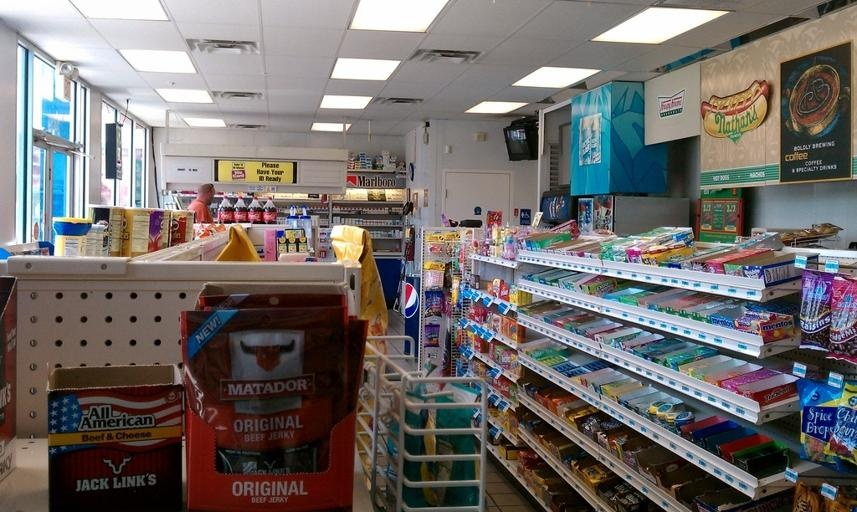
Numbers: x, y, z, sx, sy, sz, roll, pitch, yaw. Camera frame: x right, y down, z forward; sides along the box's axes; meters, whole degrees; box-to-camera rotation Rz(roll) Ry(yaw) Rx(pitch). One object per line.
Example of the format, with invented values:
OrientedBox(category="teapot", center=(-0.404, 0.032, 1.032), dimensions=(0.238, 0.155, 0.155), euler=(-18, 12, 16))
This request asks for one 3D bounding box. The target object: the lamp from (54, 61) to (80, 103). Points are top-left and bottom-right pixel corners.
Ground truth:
OrientedBox(category="lamp", center=(-4.763, -2.346, 7.919), dimensions=(0.392, 0.451, 0.168), euler=(14, 0, 2))

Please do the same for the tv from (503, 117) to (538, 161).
OrientedBox(category="tv", center=(1.876, -2.240, 11.351), dimensions=(0.647, 0.668, 0.755), euler=(-2, 11, -20))

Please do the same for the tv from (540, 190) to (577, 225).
OrientedBox(category="tv", center=(2.056, -0.697, 9.085), dimensions=(0.369, 0.618, 0.660), euler=(4, 1, -32))
